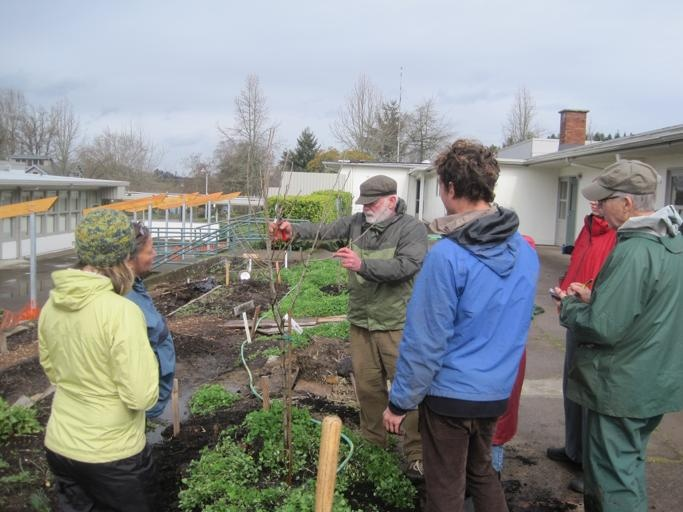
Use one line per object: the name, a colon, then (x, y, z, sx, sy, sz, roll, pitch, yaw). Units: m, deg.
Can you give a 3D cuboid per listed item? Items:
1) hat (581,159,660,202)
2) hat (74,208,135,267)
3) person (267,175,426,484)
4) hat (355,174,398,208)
hat: (1.975, -0.522, 4.122, 0.520, 0.283, 0.338, 6, 11, 33)
hat: (-1.436, -0.147, 3.733, 0.409, 0.430, 0.484, -1, 0, -44)
person: (0.078, 0.553, 4.978, 1.271, 2.340, 0.957, -2, 9, -10)
hat: (0.304, -0.553, 4.997, 0.304, 0.173, 0.229, -6, 9, -18)
